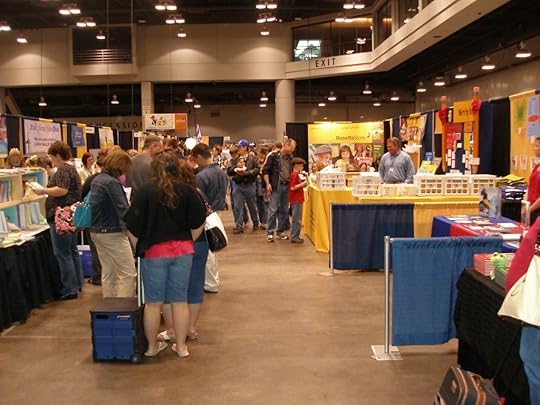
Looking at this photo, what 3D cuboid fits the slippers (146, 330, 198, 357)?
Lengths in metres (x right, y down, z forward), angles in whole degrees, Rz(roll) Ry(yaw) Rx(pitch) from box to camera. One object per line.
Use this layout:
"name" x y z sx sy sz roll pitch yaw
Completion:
"slippers" -0.923 1.236 4.615 0.385 0.229 0.330 -1 10 -2

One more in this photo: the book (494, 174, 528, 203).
"book" 3.211 -0.188 6.724 0.397 0.292 0.800 -2 1 9

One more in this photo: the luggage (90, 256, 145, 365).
"luggage" -1.332 1.049 4.512 0.442 0.653 0.358 1 10 8

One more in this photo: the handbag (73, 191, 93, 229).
"handbag" -1.890 0.101 5.156 0.159 0.409 0.237 6 -13 -26

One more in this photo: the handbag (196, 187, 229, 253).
"handbag" -0.540 0.175 4.756 0.247 0.707 0.744 -2 10 -6

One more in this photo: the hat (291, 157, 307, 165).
"hat" 0.503 -0.702 8.532 0.156 0.074 0.201 5 9 29

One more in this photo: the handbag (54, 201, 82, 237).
"handbag" -2.181 0.175 5.417 0.298 0.367 0.171 1 -10 -6

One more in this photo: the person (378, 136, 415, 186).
"person" 2.032 -0.633 8.280 0.522 0.824 0.396 0 4 22
